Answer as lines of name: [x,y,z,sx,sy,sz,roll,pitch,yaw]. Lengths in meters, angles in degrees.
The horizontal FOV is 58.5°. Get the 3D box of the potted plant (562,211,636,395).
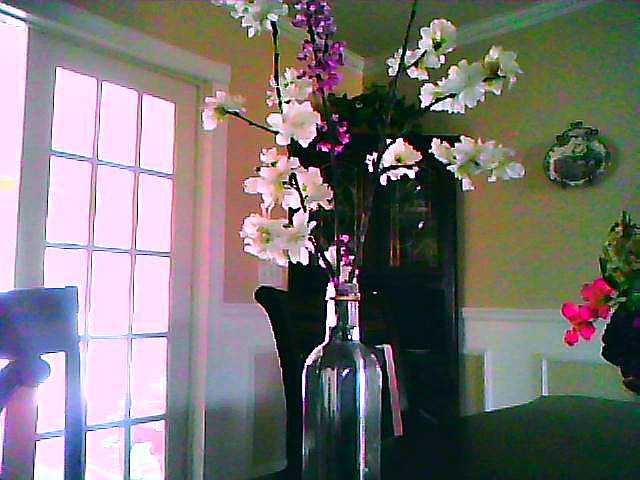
potted plant: [0.762,0.154,1.536,0.188,0.461,0.306,9,8,17]

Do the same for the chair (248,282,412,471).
chair: [0.086,0.456,2.044,0.471,0.632,0.454,-6,-13,-47]
